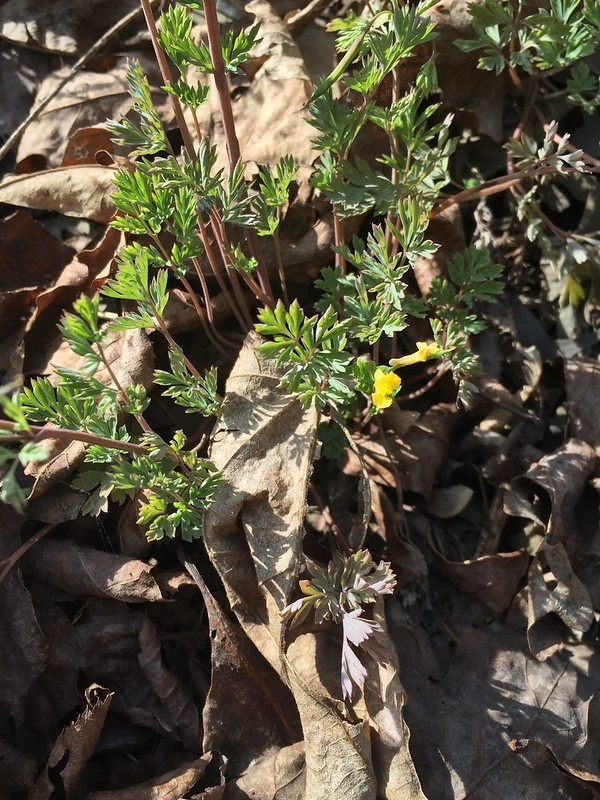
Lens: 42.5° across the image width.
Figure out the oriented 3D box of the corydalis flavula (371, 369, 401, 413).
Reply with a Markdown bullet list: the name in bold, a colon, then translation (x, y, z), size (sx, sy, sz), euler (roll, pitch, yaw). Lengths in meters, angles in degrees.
- **corydalis flavula**: translation (0.201, -0.023, 2.097), size (0.052, 0.103, 0.101), euler (21, 14, 28)
